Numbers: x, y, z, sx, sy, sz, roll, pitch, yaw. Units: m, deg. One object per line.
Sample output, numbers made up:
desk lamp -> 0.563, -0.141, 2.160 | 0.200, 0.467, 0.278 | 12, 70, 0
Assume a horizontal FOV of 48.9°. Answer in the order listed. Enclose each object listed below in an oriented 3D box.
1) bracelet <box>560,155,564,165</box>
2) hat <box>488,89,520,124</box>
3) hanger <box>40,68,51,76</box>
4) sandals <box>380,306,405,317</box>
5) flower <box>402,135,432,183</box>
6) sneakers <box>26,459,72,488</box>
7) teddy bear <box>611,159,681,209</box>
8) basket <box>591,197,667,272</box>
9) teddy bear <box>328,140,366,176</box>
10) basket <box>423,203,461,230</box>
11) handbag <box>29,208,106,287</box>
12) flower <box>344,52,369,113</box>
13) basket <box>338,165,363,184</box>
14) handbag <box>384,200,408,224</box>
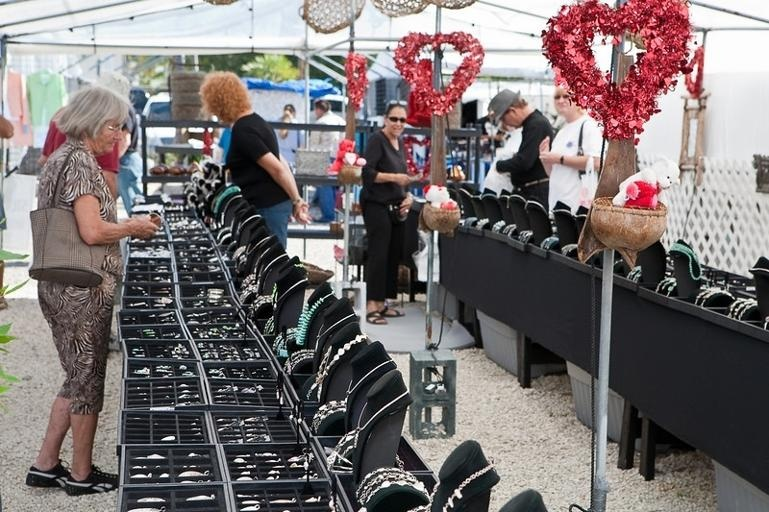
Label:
bracelet -> 1.582, -0.851, 7.560 | 0.037, 0.088, 0.143 | 3, 11, 11
hat -> 1.117, -1.443, 8.025 | 0.109, 0.304, 0.252 | 32, -34, -8
hanger -> -5.343, -2.897, 13.342 | 0.141, 0.084, 0.171 | -2, 11, -17
sandals -> 0.079, 0.583, 8.793 | 0.261, 0.117, 0.103 | -1, 6, -8
flower -> 0.364, -1.178, 10.371 | 0.421, 0.664, 0.203 | -1, -7, -34
sneakers -> -2.145, 1.417, 5.504 | 0.362, 0.200, 0.132 | 3, 4, -20
teddy bear -> 1.313, -0.361, 4.209 | 0.450, 0.226, 0.163 | -9, 14, -43
basket -> 1.204, -0.125, 4.154 | 0.318, 0.304, 0.334 | -2, 6, -18
teddy bear -> -0.327, -0.833, 7.258 | 0.270, 0.144, 0.297 | 2, 39, -2
basket -> 0.417, -0.277, 6.138 | 0.187, 0.135, 0.188 | -1, 5, -39
handbag -> -1.879, -0.053, 5.023 | 0.367, 0.346, 0.232 | 0, -17, 3
flower -> -0.249, -1.508, 7.337 | 0.185, 0.501, 0.505 | 0, 10, -3
basket -> -0.295, -0.682, 7.240 | 0.158, 0.125, 0.161 | 0, 8, 4
handbag -> 0.099, -0.426, 8.164 | 0.144, 0.160, 0.203 | -4, 33, -33
